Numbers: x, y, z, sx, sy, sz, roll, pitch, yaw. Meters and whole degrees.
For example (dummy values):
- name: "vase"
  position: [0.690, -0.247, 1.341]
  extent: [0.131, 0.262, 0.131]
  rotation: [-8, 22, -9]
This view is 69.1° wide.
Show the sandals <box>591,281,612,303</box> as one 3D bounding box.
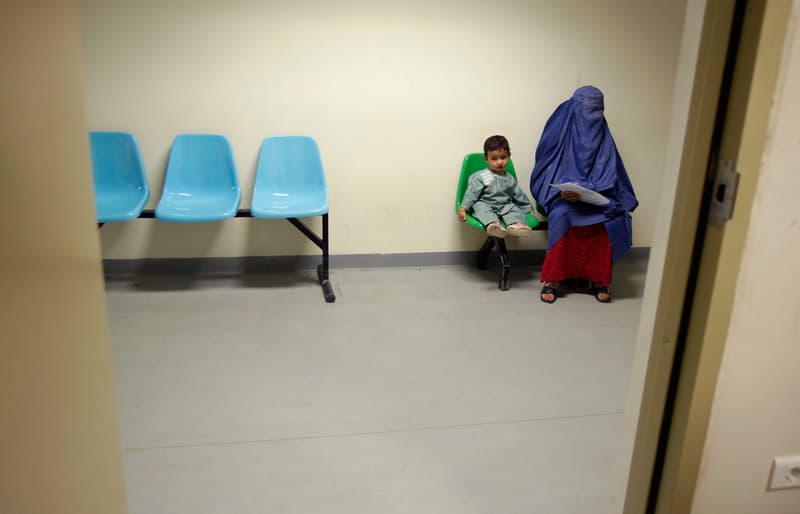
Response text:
- name: "sandals"
  position: [0.935, 0.159, 2.699]
  extent: [0.047, 0.038, 0.136]
  rotation: [-7, 18, 1]

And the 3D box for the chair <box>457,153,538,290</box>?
- name: "chair"
  position: [0.492, -0.183, 3.015]
  extent: [0.350, 0.559, 0.415]
  rotation: [4, -4, 18]

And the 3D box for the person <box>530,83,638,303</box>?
- name: "person"
  position: [0.849, -0.300, 2.711]
  extent: [0.482, 0.967, 0.446]
  rotation: [3, 14, 12]
